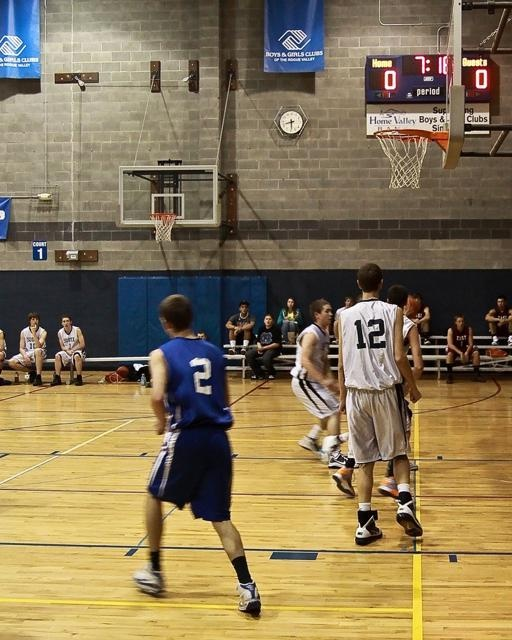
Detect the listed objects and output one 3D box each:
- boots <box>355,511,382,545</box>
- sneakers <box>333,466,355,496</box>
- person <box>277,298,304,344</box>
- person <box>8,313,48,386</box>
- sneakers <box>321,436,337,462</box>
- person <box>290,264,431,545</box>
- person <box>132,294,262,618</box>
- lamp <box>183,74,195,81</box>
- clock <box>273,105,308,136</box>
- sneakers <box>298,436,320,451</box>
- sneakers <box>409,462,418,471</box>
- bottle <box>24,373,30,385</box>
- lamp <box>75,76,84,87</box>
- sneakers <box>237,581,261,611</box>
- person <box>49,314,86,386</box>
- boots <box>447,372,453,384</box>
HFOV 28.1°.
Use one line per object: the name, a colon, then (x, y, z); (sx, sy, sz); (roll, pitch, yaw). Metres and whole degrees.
boots: (0.733, 1.373, 6.808); (0.109, 0.197, 0.271); (0, 2, 19)
sneakers: (0.662, 1.225, 7.733); (0.140, 0.205, 0.077); (-45, 25, -10)
person: (0.506, 0.017, 15.763); (0.336, 0.770, 0.415); (3, -12, 4)
person: (-3.435, 0.432, 15.369); (0.599, 0.752, 1.683); (-11, 7, -14)
sneakers: (0.609, 1.105, 8.508); (0.088, 0.292, 0.203); (3, 44, 7)
person: (0.803, 0.568, 6.710); (0.528, 1.849, 0.474); (-7, 6, 9)
person: (-0.414, 0.800, 5.874); (0.633, 1.851, 0.457); (-9, 6, -4)
lamp: (-1.087, -3.888, 16.329); (0.138, 0.056, 0.097); (-13, -4, 32)
clock: (0.575, -3.179, 16.224); (0.435, 0.435, 0.067); (1, -1, 5)
sneakers: (0.472, 1.082, 8.957); (0.083, 0.104, 0.217); (22, -4, 39)
sneakers: (1.307, 1.217, 8.484); (0.045, 0.062, 0.147); (-3, -17, 6)
bottle: (-3.351, 0.845, 15.047); (0.103, 0.206, 0.110); (0, 1, 0)
lamp: (-2.881, -3.909, 16.668); (0.062, 0.156, 0.203); (-5, 32, -19)
sneakers: (-0.043, 1.580, 5.846); (0.124, 0.197, 0.179); (-9, 7, -2)
person: (-2.798, 0.459, 15.110); (0.494, 0.690, 0.769); (-9, 7, -2)
boots: (2.775, 0.845, 14.662); (0.062, 0.144, 0.197); (-1, -11, 8)
